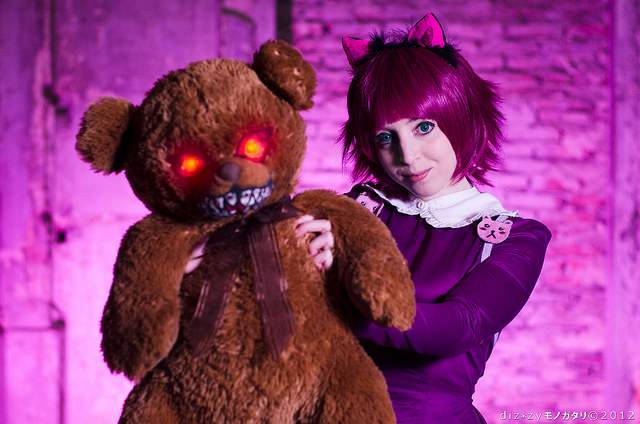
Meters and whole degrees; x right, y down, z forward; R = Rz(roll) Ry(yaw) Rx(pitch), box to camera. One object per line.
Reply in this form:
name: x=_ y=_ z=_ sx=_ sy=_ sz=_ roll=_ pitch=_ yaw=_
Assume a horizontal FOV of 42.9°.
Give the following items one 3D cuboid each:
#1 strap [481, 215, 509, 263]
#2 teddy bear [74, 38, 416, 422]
strap: x=0.775 y=0.116 z=3.656 sx=0.057 sy=0.195 sz=0.161 roll=7 pitch=8 yaw=33
teddy bear: x=-0.386 y=0.085 z=3.384 sx=1.277 sy=1.587 sz=0.362 roll=4 pitch=7 yaw=14
